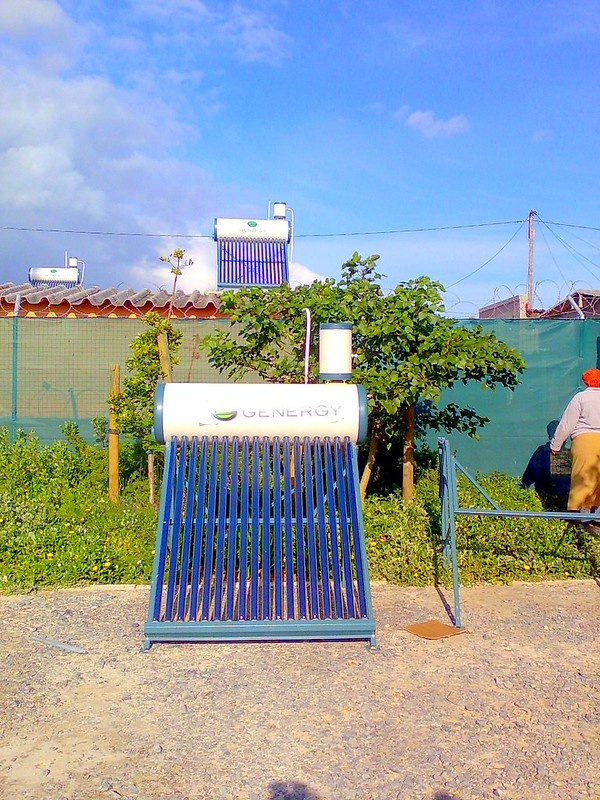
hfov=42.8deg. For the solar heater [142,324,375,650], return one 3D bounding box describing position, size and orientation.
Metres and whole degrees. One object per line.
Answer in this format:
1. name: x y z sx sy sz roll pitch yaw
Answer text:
1. solar heater: -0.301 0.496 5.844 1.638 2.188 1.697 0 3 -2
